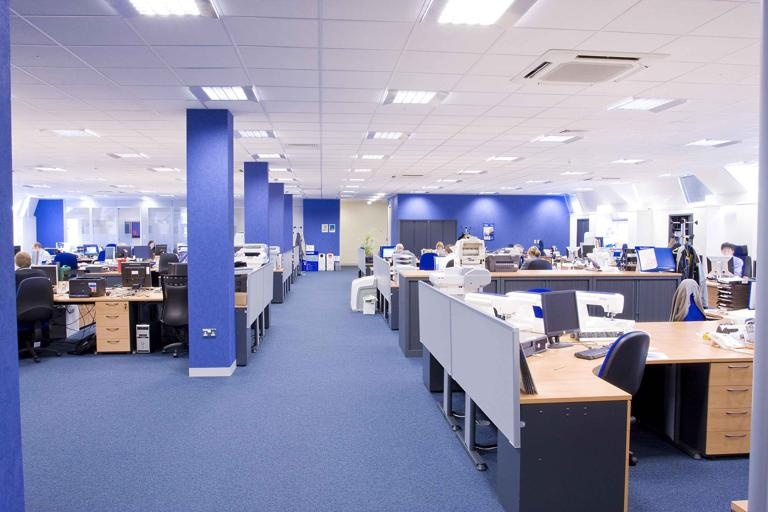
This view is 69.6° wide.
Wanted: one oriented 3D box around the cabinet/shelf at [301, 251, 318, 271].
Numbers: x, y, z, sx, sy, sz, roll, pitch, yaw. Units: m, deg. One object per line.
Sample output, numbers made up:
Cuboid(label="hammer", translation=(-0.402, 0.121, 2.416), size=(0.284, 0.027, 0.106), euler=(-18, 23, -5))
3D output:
Cuboid(label="cabinet/shelf", translation=(-2.989, 0.190, 22.760), size=(0.917, 1.100, 0.640), euler=(1, -2, -7))

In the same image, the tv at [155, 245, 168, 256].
Cuboid(label="tv", translation=(-6.225, -0.162, 15.460), size=(0.429, 0.373, 0.217), euler=(1, -3, -8))

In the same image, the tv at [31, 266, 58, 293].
Cuboid(label="tv", translation=(-5.276, 0.362, 8.586), size=(0.249, 0.410, 0.494), euler=(2, 2, 43))

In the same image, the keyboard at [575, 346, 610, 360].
Cuboid(label="keyboard", translation=(2.171, 1.005, 5.709), size=(0.265, 0.031, 0.143), euler=(-3, 7, -26))

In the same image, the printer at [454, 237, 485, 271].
Cuboid(label="printer", translation=(1.254, -0.047, 8.268), size=(0.504, 0.539, 0.453), euler=(0, -1, -5))

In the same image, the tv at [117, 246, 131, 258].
Cuboid(label="tv", translation=(-7.252, -0.110, 15.426), size=(0.352, 0.296, 0.226), euler=(2, 4, -2))

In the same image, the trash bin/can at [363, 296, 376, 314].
Cuboid(label="trash bin/can", translation=(-0.308, 1.047, 11.729), size=(0.418, 0.370, 0.337), euler=(1, -4, -5))

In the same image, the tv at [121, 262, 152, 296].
Cuboid(label="tv", translation=(-4.177, 0.401, 9.331), size=(0.587, 0.513, 0.215), euler=(0, 2, -7))

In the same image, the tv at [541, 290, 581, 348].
Cuboid(label="tv", translation=(1.891, 0.675, 5.937), size=(0.643, 0.606, 0.235), euler=(-4, 0, -32))

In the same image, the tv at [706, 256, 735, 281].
Cuboid(label="tv", translation=(5.732, 0.211, 9.397), size=(0.464, 0.460, 0.183), euler=(0, 7, 24))

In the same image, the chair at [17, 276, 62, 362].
Cuboid(label="chair", translation=(-5.295, 0.928, 8.480), size=(0.489, 1.264, 0.967), euler=(-1, 1, -30))

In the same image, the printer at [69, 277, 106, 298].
Cuboid(label="printer", translation=(-4.619, 0.490, 8.627), size=(0.392, 0.209, 0.366), euler=(0, 4, -4))
